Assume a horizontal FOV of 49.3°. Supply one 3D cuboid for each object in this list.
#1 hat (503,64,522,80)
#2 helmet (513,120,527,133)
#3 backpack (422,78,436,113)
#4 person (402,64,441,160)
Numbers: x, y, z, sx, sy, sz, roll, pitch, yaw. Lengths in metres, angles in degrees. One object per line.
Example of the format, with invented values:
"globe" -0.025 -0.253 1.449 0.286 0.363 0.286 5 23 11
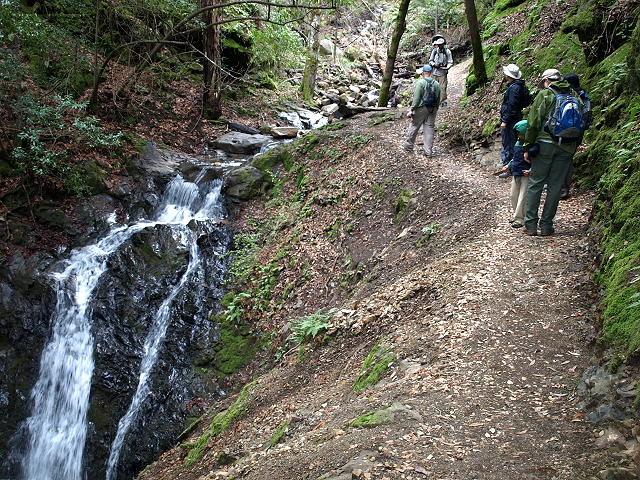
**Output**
"hat" 4.754 -4.145 17.133 0.363 0.349 0.716 1 19 10
"helmet" 4.628 -2.564 15.788 0.125 0.240 0.337 12 -28 -23
"backpack" 3.161 -4.091 19.583 0.464 0.823 0.162 -13 21 -28
"person" 2.986 -3.763 20.162 1.025 2.535 0.977 10 14 29
